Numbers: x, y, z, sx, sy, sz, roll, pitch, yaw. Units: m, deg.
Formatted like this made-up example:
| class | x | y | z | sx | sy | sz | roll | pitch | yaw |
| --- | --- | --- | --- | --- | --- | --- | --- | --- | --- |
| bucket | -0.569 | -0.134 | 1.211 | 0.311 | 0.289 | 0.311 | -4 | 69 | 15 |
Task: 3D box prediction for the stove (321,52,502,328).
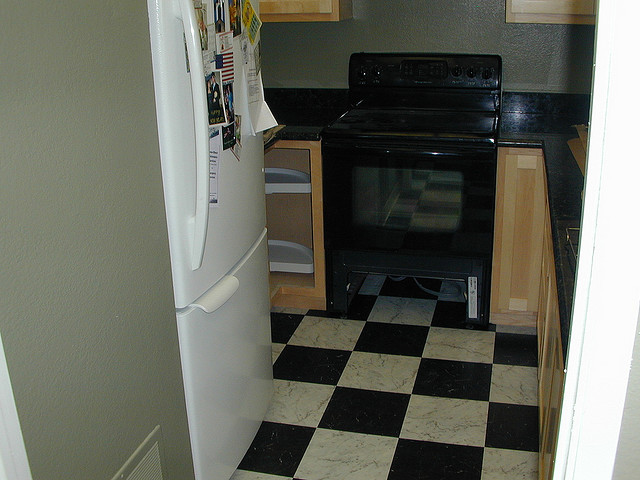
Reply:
| class | x | y | z | sx | sy | sz | roll | pitch | yaw |
| --- | --- | --- | --- | --- | --- | --- | --- | --- | --- |
| stove | 0.519 | -0.367 | 2.977 | 0.968 | 1.410 | 0.994 | 6 | 28 | 18 |
